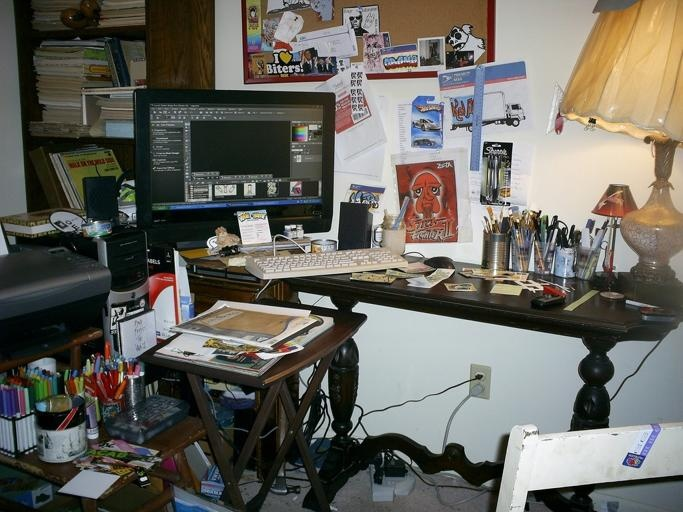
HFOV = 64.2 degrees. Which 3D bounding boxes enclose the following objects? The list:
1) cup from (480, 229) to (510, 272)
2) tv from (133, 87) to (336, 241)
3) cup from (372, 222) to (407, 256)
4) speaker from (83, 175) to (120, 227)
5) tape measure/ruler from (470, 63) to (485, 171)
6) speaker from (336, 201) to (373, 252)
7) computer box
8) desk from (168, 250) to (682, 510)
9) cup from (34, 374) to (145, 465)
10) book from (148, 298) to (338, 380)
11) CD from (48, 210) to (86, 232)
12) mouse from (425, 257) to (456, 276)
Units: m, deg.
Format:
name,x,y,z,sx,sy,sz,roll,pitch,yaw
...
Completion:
name,x,y,z,sx,sy,sz,roll,pitch,yaw
cup,0.550,-0.019,2.008,0.126,0.135,0.120,1,7,0
tv,-0.418,-0.354,2.040,0.610,0.440,0.079,-3,13,-20
cup,0.194,-0.061,2.086,0.142,0.133,0.091,7,11,26
speaker,-0.815,-0.185,1.839,0.094,0.165,0.166,-4,13,-9
tape measure/ruler,0.507,-0.508,2.032,0.046,0.387,0.011,2,13,18
speaker,0.043,-0.115,2.099,0.122,0.175,0.052,7,15,33
computer box,-0.795,0.130,1.874,0.232,0.415,0.203,7,14,19
desk,0.280,0.405,1.815,0.912,0.523,0.376,7,11,24
cup,-0.737,0.476,1.541,0.161,0.157,0.148,4,11,-1
book,-0.265,0.218,1.574,0.368,0.092,0.398,4,14,23
CD,-1.008,-0.127,2.005,0.078,0.077,0.010,-28,1,-42
mouse,0.360,0.036,1.978,0.084,0.037,0.052,10,18,32
